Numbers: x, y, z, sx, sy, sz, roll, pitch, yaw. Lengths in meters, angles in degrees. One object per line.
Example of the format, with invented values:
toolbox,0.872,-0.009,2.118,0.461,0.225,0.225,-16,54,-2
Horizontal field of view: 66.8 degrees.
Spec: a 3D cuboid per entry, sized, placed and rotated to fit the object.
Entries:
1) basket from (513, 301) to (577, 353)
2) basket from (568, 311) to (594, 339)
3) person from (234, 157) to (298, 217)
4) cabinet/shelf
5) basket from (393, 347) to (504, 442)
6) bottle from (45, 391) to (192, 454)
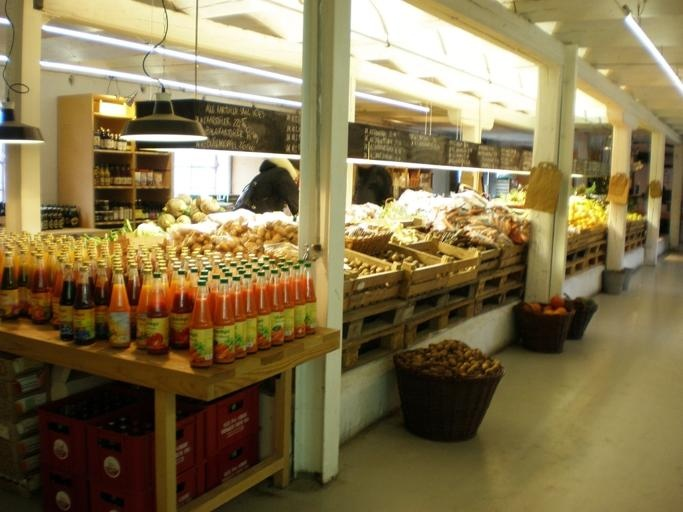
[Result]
basket,2.288,0.774,5.869,0.565,0.548,0.565,-1,9,-21
basket,2.801,0.829,6.248,0.314,0.336,0.334,0,3,2
person,-0.806,-0.800,6.033,0.811,0.751,0.639,-1,-9,28
cabinet/shelf,-3.779,-1.393,8.003,0.502,1.690,0.969,15,16,20
basket,0.777,1.040,3.872,0.787,0.593,0.478,2,8,6
bottle,-1.037,0.807,2.753,0.479,0.163,0.481,0,3,0
